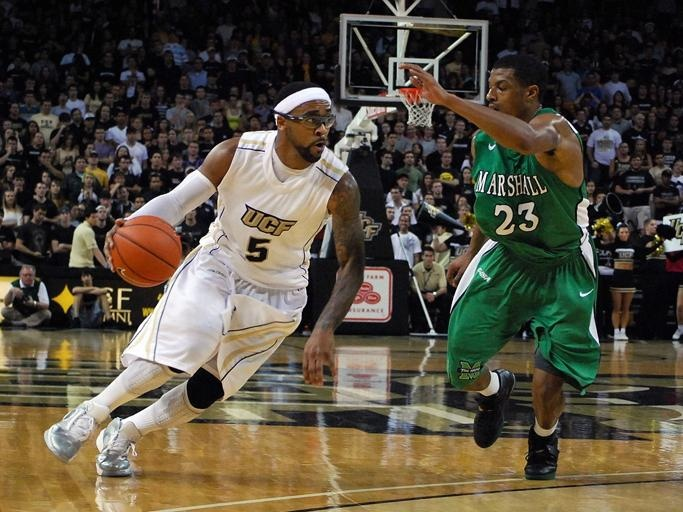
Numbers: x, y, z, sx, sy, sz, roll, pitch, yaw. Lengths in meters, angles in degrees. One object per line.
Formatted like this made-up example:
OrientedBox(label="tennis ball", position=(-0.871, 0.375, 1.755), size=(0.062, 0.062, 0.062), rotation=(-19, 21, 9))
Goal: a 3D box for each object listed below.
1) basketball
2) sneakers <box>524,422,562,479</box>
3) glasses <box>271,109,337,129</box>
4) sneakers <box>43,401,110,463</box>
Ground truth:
OrientedBox(label="basketball", position=(-1.031, -0.014, 4.090), size=(0.378, 0.344, 0.345), rotation=(12, -5, -29))
OrientedBox(label="sneakers", position=(1.090, 1.045, 4.239), size=(0.175, 0.203, 0.296), rotation=(3, 2, 14))
OrientedBox(label="glasses", position=(-0.198, -0.725, 4.113), size=(0.326, 0.099, 0.166), rotation=(3, 2, -4))
OrientedBox(label="sneakers", position=(-1.298, 0.853, 3.798), size=(0.172, 0.131, 0.390), rotation=(-32, 10, -5))
